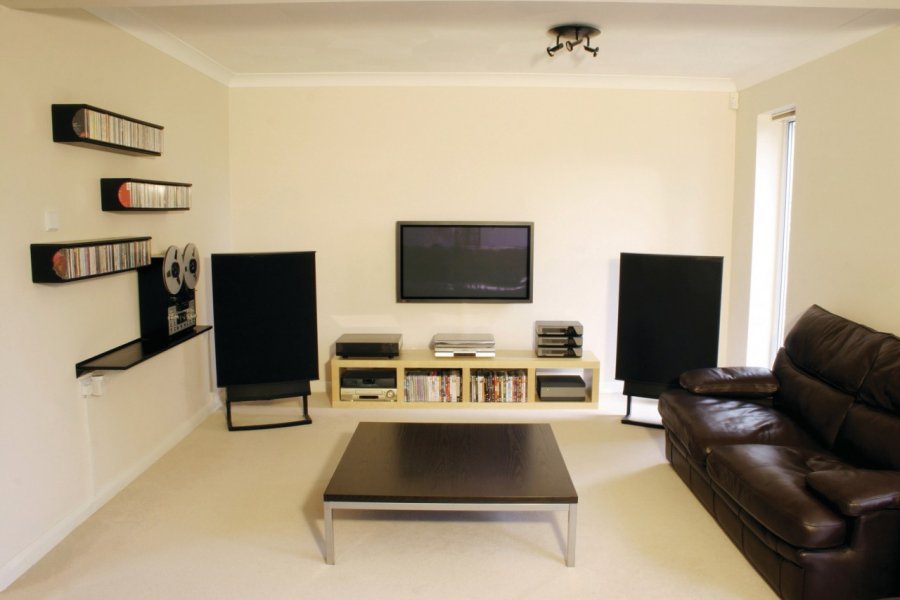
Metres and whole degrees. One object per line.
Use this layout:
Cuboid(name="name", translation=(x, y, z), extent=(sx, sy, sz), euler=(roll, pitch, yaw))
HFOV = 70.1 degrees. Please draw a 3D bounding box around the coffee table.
Cuboid(name="coffee table", translation=(0.005, 1.211, 4.134), extent=(1.483, 0.582, 0.836), euler=(0, 7, 1))
